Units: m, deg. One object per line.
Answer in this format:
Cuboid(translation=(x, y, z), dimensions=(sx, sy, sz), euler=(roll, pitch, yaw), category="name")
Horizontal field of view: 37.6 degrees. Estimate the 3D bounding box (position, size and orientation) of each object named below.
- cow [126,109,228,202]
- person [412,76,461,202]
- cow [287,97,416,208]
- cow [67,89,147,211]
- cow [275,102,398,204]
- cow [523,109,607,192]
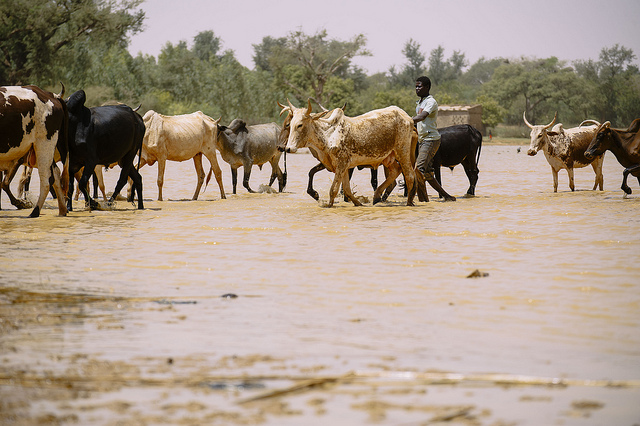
Cuboid(translation=(-3.819, -1.342, 22.600), dimensions=(0.945, 2.157, 3.973), euler=(0, 1, 42), category="cow")
Cuboid(translation=(2.385, -1.573, 20.558), dimensions=(0.657, 2.737, 1.386), euler=(0, 5, 18), category="person")
Cuboid(translation=(0.701, -1.198, 20.006), dimensions=(3.338, 2.245, 0.964), euler=(0, -1, -29), category="cow")
Cuboid(translation=(-4.512, -1.281, 19.777), dimensions=(1.184, 2.545, 1.946), euler=(0, 5, 22), category="cow")
Cuboid(translation=(0.625, -1.339, 21.455), dimensions=(3.946, 2.328, 0.978), euler=(-8, 17, -39), category="cow")
Cuboid(translation=(6.021, -1.416, 23.126), dimensions=(2.882, 1.847, 0.967), euler=(-2, 0, -36), category="cow")
